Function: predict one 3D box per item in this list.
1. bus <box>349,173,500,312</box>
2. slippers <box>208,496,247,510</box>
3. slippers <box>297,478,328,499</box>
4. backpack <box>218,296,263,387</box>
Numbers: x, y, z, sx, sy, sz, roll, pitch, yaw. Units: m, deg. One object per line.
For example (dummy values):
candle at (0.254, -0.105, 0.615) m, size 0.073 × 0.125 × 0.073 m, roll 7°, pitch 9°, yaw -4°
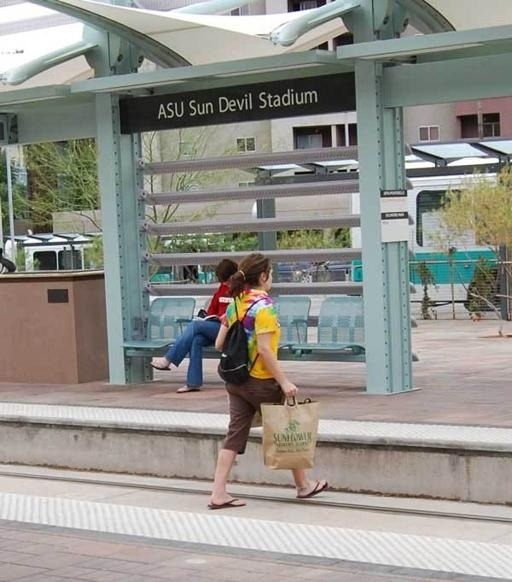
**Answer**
bus at (4.019, -1.112, 22.324) m, size 1.702 × 3.093 × 3.085 m, roll -2°, pitch 2°, yaw 6°
slippers at (-0.193, 1.361, 6.907) m, size 0.226 × 0.047 × 0.084 m, roll -2°, pitch 2°, yaw -13°
slippers at (0.364, 1.308, 7.074) m, size 0.194 × 0.049 × 0.097 m, roll -29°, pitch 4°, yaw -9°
backpack at (-0.140, 0.327, 6.799) m, size 0.247 × 0.550 × 0.103 m, roll -2°, pitch 3°, yaw 16°
